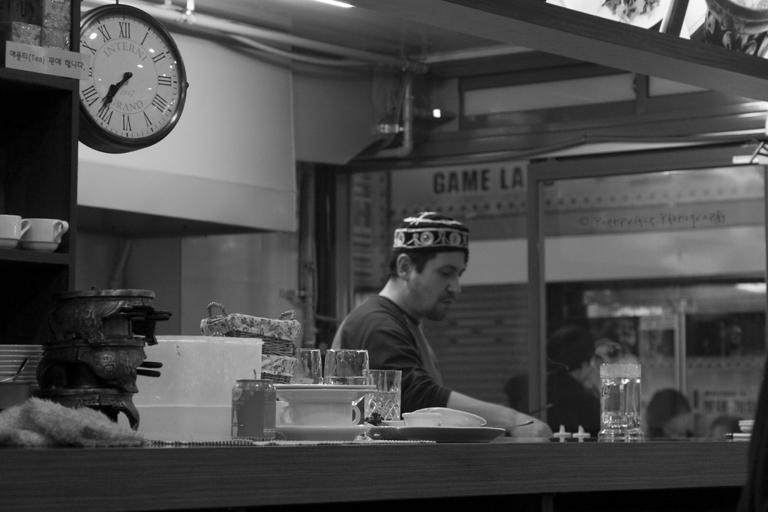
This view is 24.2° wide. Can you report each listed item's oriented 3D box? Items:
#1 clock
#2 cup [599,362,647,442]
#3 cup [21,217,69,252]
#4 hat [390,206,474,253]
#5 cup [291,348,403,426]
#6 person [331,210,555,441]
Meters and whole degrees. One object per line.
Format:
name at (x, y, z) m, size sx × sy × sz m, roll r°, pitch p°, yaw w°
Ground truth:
clock at (-0.978, -0.668, 6.898) m, size 0.144 × 0.494 × 0.509 m, roll 8°, pitch 31°, yaw 43°
cup at (0.859, 0.508, 6.380) m, size 0.226 × 0.277 × 0.222 m, roll 0°, pitch -1°, yaw 0°
cup at (-1.158, -0.077, 6.174) m, size 0.172 × 0.119 × 0.130 m, roll 2°, pitch -1°, yaw 28°
hat at (0.177, -0.102, 7.557) m, size 0.364 × 0.124 × 0.360 m, roll 3°, pitch -1°, yaw 17°
cup at (-0.134, 0.409, 5.724) m, size 0.296 × 0.116 × 0.237 m, roll -4°, pitch -9°, yaw 37°
person at (0.184, 0.267, 7.546) m, size 0.864 × 1.073 × 0.859 m, roll -4°, pitch -15°, yaw 13°
